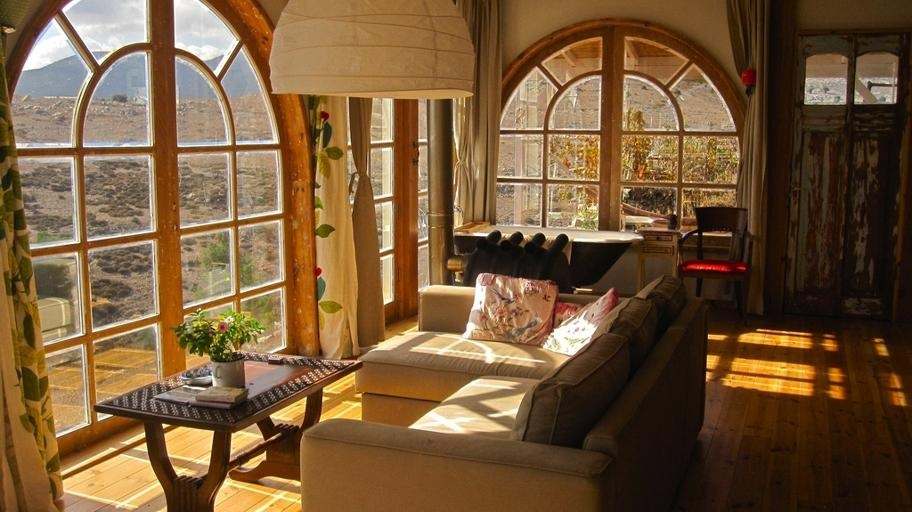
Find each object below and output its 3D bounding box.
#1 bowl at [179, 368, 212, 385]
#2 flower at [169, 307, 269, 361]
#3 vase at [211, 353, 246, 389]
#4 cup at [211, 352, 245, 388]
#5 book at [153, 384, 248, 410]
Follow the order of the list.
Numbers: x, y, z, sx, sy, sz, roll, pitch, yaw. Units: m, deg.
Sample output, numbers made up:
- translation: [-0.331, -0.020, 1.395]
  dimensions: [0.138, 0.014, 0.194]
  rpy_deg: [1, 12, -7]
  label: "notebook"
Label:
- translation: [-1.730, 0.812, 4.142]
  dimensions: [0.138, 0.030, 0.130]
  rpy_deg: [3, 19, -1]
  label: "bowl"
- translation: [-1.576, 0.514, 4.223]
  dimensions: [0.592, 0.349, 0.552]
  rpy_deg: [1, 3, -7]
  label: "flower"
- translation: [-1.476, 0.767, 4.068]
  dimensions: [0.189, 0.159, 0.234]
  rpy_deg: [-1, -1, 3]
  label: "vase"
- translation: [-1.472, 0.743, 3.988]
  dimensions: [0.192, 0.160, 0.235]
  rpy_deg: [0, 0, 2]
  label: "cup"
- translation: [-1.619, 0.883, 3.921]
  dimensions: [0.572, 0.088, 0.178]
  rpy_deg: [2, 7, 14]
  label: "book"
